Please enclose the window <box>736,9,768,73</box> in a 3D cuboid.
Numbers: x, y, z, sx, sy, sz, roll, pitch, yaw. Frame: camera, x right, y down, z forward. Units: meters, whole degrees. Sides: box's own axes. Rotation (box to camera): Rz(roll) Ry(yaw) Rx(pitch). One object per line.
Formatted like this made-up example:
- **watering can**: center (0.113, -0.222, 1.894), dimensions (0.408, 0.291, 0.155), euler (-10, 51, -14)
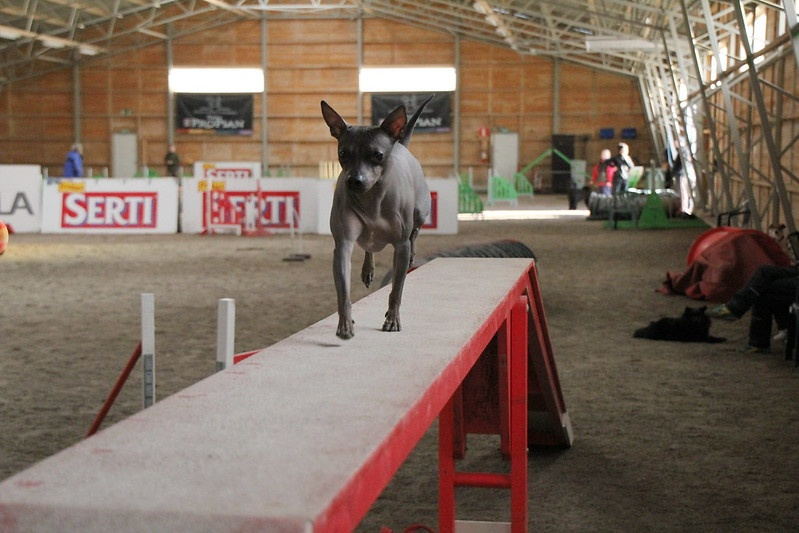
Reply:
- **window**: center (7.214, -4.639, 18.509), dimensions (0.446, 1.314, 3.242), euler (2, 8, 21)
